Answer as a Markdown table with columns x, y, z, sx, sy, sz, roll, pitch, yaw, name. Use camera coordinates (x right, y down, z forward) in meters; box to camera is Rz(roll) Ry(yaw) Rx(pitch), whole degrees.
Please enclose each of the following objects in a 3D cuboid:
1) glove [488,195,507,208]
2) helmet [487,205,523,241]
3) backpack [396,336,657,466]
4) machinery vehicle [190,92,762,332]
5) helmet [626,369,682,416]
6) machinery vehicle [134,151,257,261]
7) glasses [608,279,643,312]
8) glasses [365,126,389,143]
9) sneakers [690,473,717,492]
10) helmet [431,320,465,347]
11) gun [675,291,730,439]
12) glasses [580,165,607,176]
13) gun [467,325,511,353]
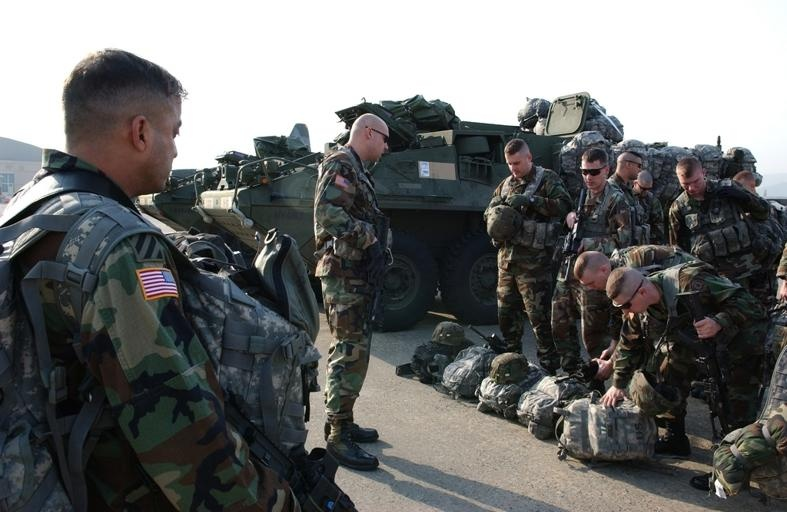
| x | y | z | sx | sy | sz | roll | pitch | yaw | name |
| --- | --- | --- | --- | --- | --- | --- | --- | --- | --- |
| 0.916 | -0.460 | 6.392 | 0.095 | 0.048 | 0.128 | -7 | 24 | 47 | glove |
| 0.881 | -0.282 | 6.170 | 0.252 | 0.230 | 0.313 | 24 | 17 | -16 | helmet |
| 0.946 | 1.027 | 5.091 | 1.162 | 0.436 | 0.714 | 5 | -2 | -14 | backpack |
| 0.918 | -0.690 | 9.008 | 5.763 | 2.346 | 2.892 | -5 | 7 | -31 | machinery vehicle |
| 1.646 | 0.896 | 4.620 | 0.312 | 0.371 | 0.384 | 4 | 11 | 21 | helmet |
| -3.360 | -0.840 | 11.316 | 1.649 | 1.300 | 2.738 | -6 | 3 | 28 | machinery vehicle |
| 1.454 | 0.246 | 4.551 | 0.051 | 0.187 | 0.177 | 46 | -13 | -11 | glasses |
| -0.113 | -0.776 | 4.694 | 0.030 | 0.102 | 0.100 | 11 | -1 | -40 | glasses |
| 1.842 | 1.344 | 4.406 | 0.117 | 0.055 | 0.167 | 7 | 12 | 31 | sneakers |
| 0.488 | 0.663 | 6.299 | 0.255 | 0.193 | 0.182 | -13 | 19 | -30 | helmet |
| 1.932 | 0.672 | 4.562 | 0.337 | 0.935 | 0.297 | 8 | 13 | 35 | gun |
| 1.566 | -0.664 | 5.729 | 0.172 | 0.055 | 0.162 | 0 | 3 | -41 | glasses |
| 0.861 | 0.762 | 6.637 | 0.387 | 0.137 | 0.065 | 32 | -42 | -26 | gun |
